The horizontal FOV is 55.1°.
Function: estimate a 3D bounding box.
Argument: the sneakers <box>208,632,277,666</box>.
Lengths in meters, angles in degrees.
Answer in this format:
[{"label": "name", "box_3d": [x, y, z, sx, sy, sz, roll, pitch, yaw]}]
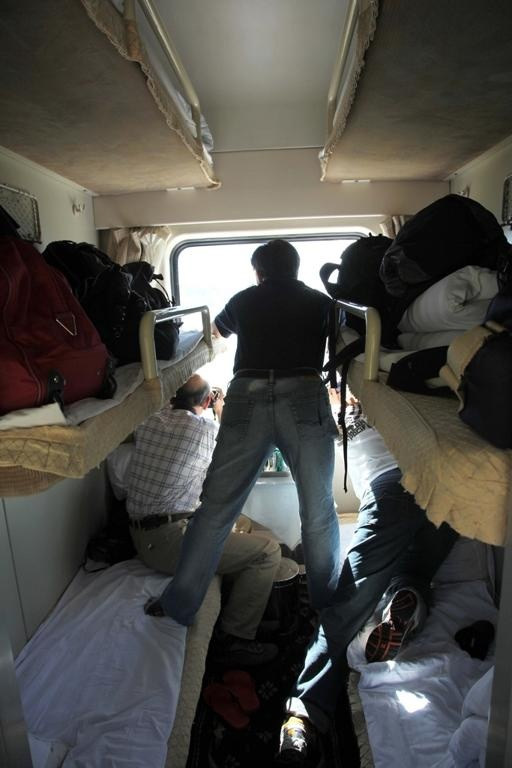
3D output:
[{"label": "sneakers", "box_3d": [-0.066, 1.177, 2.207, 0.323, 0.139, 0.115, -2, 30, 8]}]

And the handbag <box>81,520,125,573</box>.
[{"label": "handbag", "box_3d": [-0.854, 0.927, 2.790, 0.170, 0.134, 0.240, -45, 24, 4]}]

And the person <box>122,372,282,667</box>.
[{"label": "person", "box_3d": [-0.263, 0.642, 2.238, 0.523, 0.779, 1.418, 131, 144, -51]}]

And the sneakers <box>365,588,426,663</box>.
[{"label": "sneakers", "box_3d": [0.501, 0.864, 1.813, 0.113, 0.172, 0.303, 16, 66, 51]}]
